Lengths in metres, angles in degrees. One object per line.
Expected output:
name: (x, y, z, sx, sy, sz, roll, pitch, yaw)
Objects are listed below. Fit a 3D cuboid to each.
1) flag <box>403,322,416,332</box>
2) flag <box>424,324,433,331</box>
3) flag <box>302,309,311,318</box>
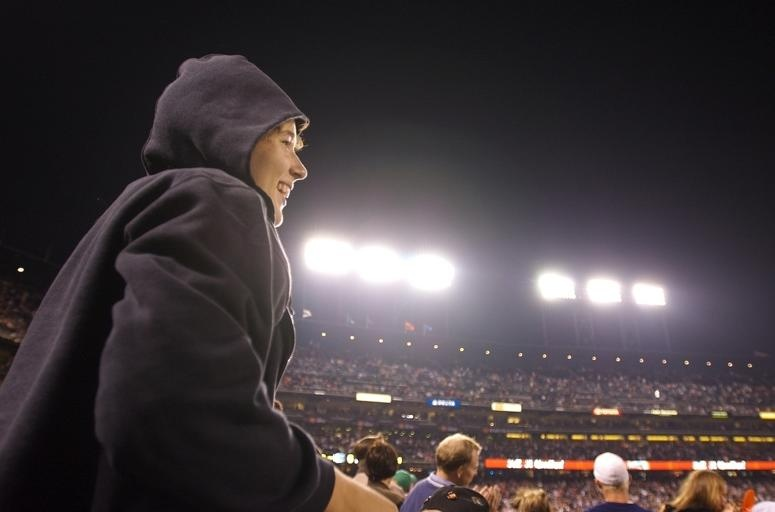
flag: (1.414, 4.421, 37.222, 0.818, 0.666, 0.259, 11, -18, -7)
flag: (2.599, 4.575, 37.694, 0.596, 0.408, 0.169, 16, -19, -20)
flag: (-4.715, 3.392, 35.245, 0.380, 0.502, 0.139, -20, -8, -23)
